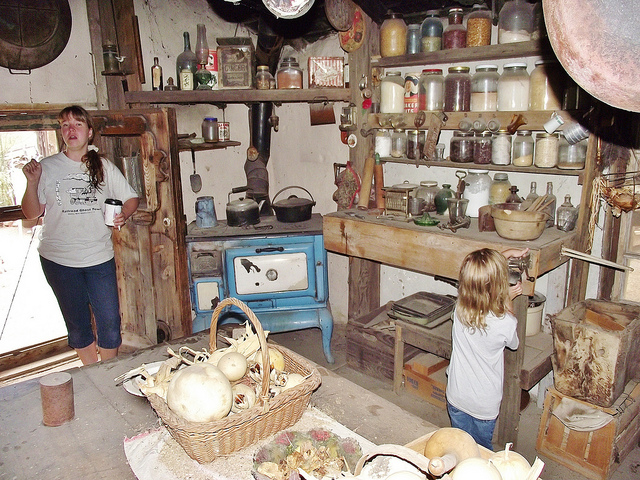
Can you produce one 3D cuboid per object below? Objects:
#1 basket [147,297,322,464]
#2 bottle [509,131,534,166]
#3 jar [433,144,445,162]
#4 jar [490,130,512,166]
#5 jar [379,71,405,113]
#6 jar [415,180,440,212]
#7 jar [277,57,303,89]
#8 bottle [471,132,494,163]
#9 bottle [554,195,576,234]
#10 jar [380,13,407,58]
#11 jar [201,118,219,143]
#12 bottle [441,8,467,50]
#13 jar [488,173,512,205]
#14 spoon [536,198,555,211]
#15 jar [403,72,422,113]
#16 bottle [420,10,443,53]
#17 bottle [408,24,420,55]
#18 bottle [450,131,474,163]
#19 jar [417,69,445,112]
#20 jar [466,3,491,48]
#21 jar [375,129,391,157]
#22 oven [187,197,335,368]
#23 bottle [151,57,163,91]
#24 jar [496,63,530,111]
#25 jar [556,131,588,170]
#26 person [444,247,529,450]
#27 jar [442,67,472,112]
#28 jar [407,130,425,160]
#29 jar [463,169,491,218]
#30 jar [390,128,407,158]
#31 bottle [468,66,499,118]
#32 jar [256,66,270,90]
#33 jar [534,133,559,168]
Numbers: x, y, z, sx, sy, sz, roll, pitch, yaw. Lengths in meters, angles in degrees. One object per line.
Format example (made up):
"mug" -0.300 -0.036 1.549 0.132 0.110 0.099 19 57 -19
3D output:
"basket" -0.327 0.534 1.969 0.649 0.533 0.413 -15 20 -40
"bottle" 1.339 -0.600 3.176 0.187 0.236 0.186 -2 13 0
"jar" 0.867 -0.630 3.507 0.077 0.117 0.126 5 16 24
"jar" 1.200 -0.608 3.195 0.111 0.231 0.053 4 17 21
"jar" 0.543 -1.126 3.684 0.227 0.306 0.121 6 17 27
"jar" 0.854 -0.313 3.699 0.234 0.235 0.239 0 2 0
"jar" -0.257 -1.395 4.089 0.247 0.279 0.247 1 13 0
"bottle" 1.110 -0.641 3.317 0.137 0.242 0.140 1 14 0
"bottle" 1.588 -0.165 3.101 0.108 0.218 0.188 0 15 8
"jar" 0.560 -1.541 3.657 0.213 0.324 0.194 -4 30 2
"jar" -0.983 -0.981 4.329 0.149 0.215 0.144 -2 15 1
"bottle" 0.914 -1.429 3.284 0.163 0.281 0.256 1 15 11
"jar" 1.223 -0.341 3.292 0.150 0.208 0.129 8 18 32
"spoon" 1.451 -0.228 3.121 0.141 0.016 0.020 -34 11 -7
"jar" 0.717 -1.068 3.582 0.174 0.318 0.176 0 19 0
"bottle" 0.789 -1.477 3.456 0.163 0.294 0.162 -2 17 1
"bottle" 0.679 -1.456 3.497 0.082 0.200 0.070 1 16 10
"bottle" 0.986 -0.651 3.374 0.094 0.215 0.182 -9 17 -25
"jar" 0.788 -1.059 3.429 0.186 0.297 0.242 1 15 11
"jar" 1.049 -1.421 3.190 0.158 0.291 0.214 3 16 18
"jar" 0.497 -0.767 3.834 0.124 0.211 0.072 1 16 10
"oven" -0.471 0.315 4.392 1.242 1.162 1.014 -4 25 -5
"bottle" -1.341 -1.353 3.939 0.083 0.278 0.281 -7 16 -17
"jar" 1.277 -1.000 3.178 0.181 0.316 0.207 -1 22 10
"jar" 1.629 -0.564 3.011 0.155 0.202 0.173 -15 16 -25
"person" 0.969 0.811 2.855 0.431 1.570 0.390 0 19 8
"jar" 0.963 -1.045 3.377 0.192 0.305 0.178 -2 19 1
"jar" 0.722 -0.716 3.653 0.089 0.211 0.177 -11 17 -30
"jar" 1.099 -0.328 3.390 0.180 0.330 0.144 3 16 19
"jar" 0.611 -0.746 3.731 0.114 0.217 0.110 -2 15 1
"bottle" 1.090 -0.985 3.214 0.186 0.328 0.163 3 16 18
"jar" -0.487 -1.367 4.075 0.119 0.199 0.188 -4 15 -6
"jar" 1.451 -0.580 3.093 0.138 0.230 0.141 -5 17 2
